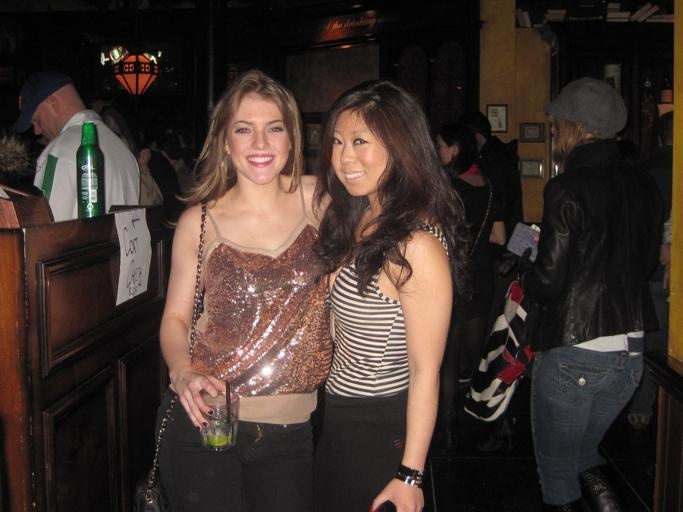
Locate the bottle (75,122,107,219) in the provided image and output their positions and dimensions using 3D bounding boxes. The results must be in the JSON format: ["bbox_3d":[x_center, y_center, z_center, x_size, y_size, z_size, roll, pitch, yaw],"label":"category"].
[{"bbox_3d":[-1.073,-0.366,2.452,0.112,0.392,0.182,-4,8,-24],"label":"bottle"}]

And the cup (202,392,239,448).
[{"bbox_3d":[-0.397,0.550,1.923,0.137,0.198,0.111,-5,8,-25],"label":"cup"}]

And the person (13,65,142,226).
[{"bbox_3d":[-1.434,-0.629,3.181,0.613,0.814,0.780,-6,9,-33],"label":"person"}]

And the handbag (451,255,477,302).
[{"bbox_3d":[0.450,0.054,2.140,0.064,0.226,0.169,-2,-29,15],"label":"handbag"}]

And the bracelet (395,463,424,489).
[{"bbox_3d":[0.229,0.746,1.920,0.078,0.045,0.082,23,-11,-24],"label":"bracelet"}]
